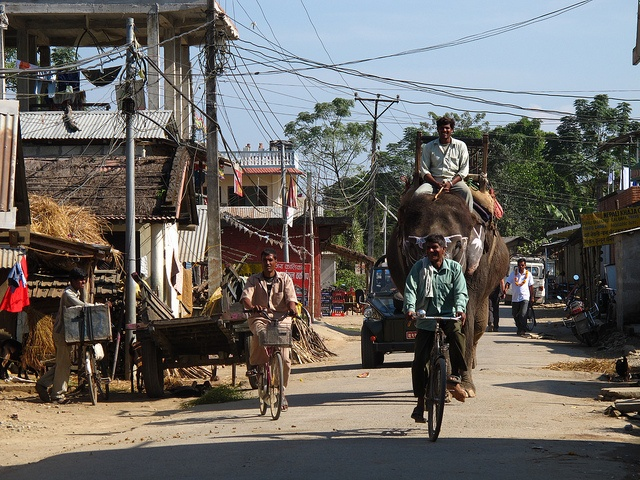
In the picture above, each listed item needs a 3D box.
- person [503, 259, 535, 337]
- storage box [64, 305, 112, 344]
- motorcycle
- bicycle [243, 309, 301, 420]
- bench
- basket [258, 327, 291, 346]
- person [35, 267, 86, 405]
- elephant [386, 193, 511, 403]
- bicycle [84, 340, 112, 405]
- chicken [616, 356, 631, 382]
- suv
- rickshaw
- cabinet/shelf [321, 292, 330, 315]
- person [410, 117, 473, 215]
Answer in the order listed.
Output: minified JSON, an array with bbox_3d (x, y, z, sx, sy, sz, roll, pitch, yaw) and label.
[{"bbox_3d":[5.797,1.676,33.104,0.807,2.266,0.686,0,2,18],"label":"person"},{"bbox_3d":[-4.804,1.751,23.409,0.955,0.806,0.220,1,-3,-16],"label":"storage box"},{"bbox_3d":[7.039,2.203,30.891,0.873,1.155,1.743,-36,0,15],"label":"motorcycle"},{"bbox_3d":[-0.872,2.354,21.286,0.563,1.653,1.809,0,-3,3],"label":"bicycle"},{"bbox_3d":[2.769,-1.671,23.661,1.556,1.638,0.233,4,-45,5],"label":"bench"},{"bbox_3d":[-0.811,1.825,21.220,0.393,0.266,0.410,1,-6,-5],"label":"basket"},{"bbox_3d":[-5.381,1.996,23.694,1.119,2.775,0.851,0,-1,9],"label":"person"},{"bbox_3d":[2.597,1.012,23.299,2.158,3.977,5.140,7,-4,18],"label":"elephant"},{"bbox_3d":[-4.767,2.863,24.264,0.528,1.269,1.527,0,-3,-6],"label":"bicycle"},{"bbox_3d":[6.422,2.732,23.898,0.207,0.489,0.676,1,-3,-8],"label":"chicken"},{"bbox_3d":[1.553,1.876,26.788,1.104,2.829,1.099,-1,2,3],"label":"suv"},{"bbox_3d":[-2.687,1.821,24.625,2.255,2.815,3.077,-1,2,-1],"label":"rickshaw"},{"bbox_3d":[0.286,2.795,50.251,0.424,1.146,0.325,0,-3,1],"label":"cabinet/shelf"},{"bbox_3d":[2.504,-1.593,22.554,0.869,2.249,0.730,1,2,7],"label":"person"}]
